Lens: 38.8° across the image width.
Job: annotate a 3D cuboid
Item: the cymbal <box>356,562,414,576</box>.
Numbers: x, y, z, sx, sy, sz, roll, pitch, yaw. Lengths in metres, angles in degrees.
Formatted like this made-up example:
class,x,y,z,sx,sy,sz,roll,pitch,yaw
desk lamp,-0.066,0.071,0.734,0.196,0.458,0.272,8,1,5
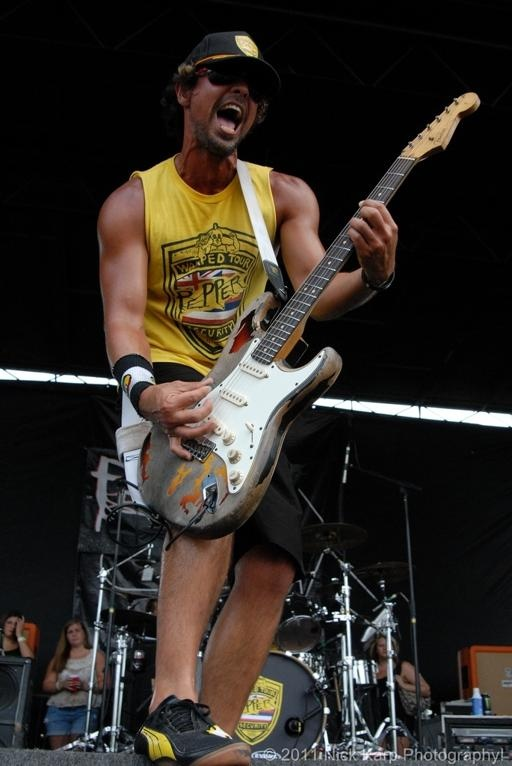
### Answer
class,x,y,z,sx,sy,sz,roll,pitch,yaw
cymbal,1.306,1.868,7.252,0.331,0.069,0.307,4,-30,-6

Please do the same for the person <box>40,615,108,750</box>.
class,x,y,z,sx,sy,sz,roll,pitch,yaw
person,-1.773,2.914,6.974,0.466,1.385,0.533,1,0,-26

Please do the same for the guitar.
class,x,y,z,sx,sy,sz,roll,pitch,yaw
guitar,0.162,-0.211,1.800,0.408,1.319,0.147,25,-10,44

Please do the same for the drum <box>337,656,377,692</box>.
class,x,y,z,sx,sy,sz,roll,pitch,yaw
drum,0.858,2.443,6.229,0.365,0.273,0.371,-2,-35,-2

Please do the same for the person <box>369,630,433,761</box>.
class,x,y,z,sx,sy,sz,roll,pitch,yaw
person,1.353,3.327,7.170,0.605,1.569,0.541,-8,-16,25

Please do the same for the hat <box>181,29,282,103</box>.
class,x,y,z,sx,sy,sz,roll,pitch,yaw
hat,-0.078,-0.944,2.104,0.232,0.111,0.312,-6,12,-42

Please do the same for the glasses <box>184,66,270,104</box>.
class,x,y,z,sx,sy,sz,roll,pitch,yaw
glasses,-0.087,-0.861,2.076,0.246,0.102,0.126,-16,13,-23

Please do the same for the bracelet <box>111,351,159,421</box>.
class,x,y,z,sx,sy,sz,roll,pitch,yaw
bracelet,-0.300,-0.003,1.789,0.104,0.178,0.066,-7,-40,-16

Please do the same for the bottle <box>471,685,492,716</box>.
class,x,y,z,sx,sy,sz,roll,pitch,yaw
bottle,1.779,2.531,5.751,0.136,0.171,0.328,-2,-22,15
